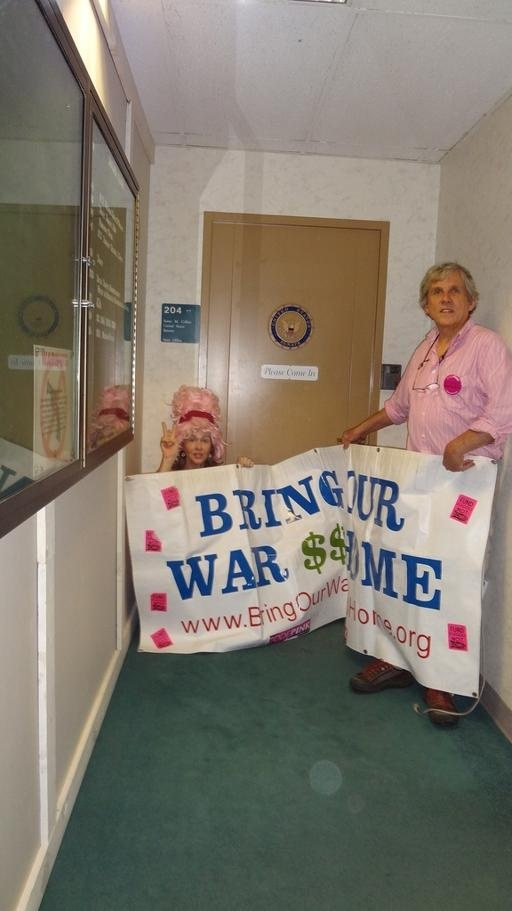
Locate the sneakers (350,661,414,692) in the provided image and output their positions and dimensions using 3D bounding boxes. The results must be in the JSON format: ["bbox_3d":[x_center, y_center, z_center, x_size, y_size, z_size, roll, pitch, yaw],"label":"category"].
[{"bbox_3d":[0.497,0.862,2.480,0.259,0.127,0.099,2,0,-28],"label":"sneakers"}]

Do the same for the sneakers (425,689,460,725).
[{"bbox_3d":[0.688,0.938,2.293,0.124,0.079,0.221,4,4,17],"label":"sneakers"}]
